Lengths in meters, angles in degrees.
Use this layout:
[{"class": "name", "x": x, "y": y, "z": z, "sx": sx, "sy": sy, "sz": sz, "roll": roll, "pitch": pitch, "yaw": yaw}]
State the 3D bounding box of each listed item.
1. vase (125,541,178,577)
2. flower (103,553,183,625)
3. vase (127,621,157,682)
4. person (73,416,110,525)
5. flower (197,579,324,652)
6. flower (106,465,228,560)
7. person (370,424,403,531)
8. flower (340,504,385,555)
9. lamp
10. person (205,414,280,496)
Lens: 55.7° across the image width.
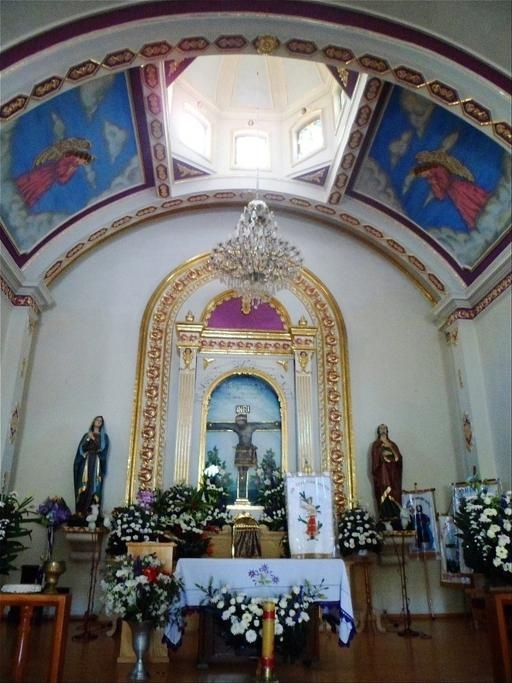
[{"class": "vase", "x": -0.804, "y": 1.608, "z": 3.709, "sx": 0.379, "sy": 0.338, "sz": 0.234, "roll": 0, "pitch": -14, "yaw": -1}, {"class": "flower", "x": -0.775, "y": 1.696, "z": 3.537, "sx": 0.524, "sy": 0.529, "sz": 0.525, "roll": 0, "pitch": 11, "yaw": -1}, {"class": "vase", "x": -0.814, "y": 2.133, "z": 3.394, "sx": 0.169, "sy": 0.339, "sz": 0.590, "roll": 4, "pitch": -20, "yaw": -9}, {"class": "person", "x": -2.238, "y": 1.666, "z": 6.592, "sx": 0.456, "sy": 1.322, "sz": 0.457, "roll": 9, "pitch": -22, "yaw": -20}, {"class": "flower", "x": 0.029, "y": 1.908, "z": 3.318, "sx": 0.844, "sy": 0.471, "sz": 0.799, "roll": -2, "pitch": -20, "yaw": 6}, {"class": "flower", "x": -1.106, "y": 2.080, "z": 5.821, "sx": 1.242, "sy": 0.665, "sz": 1.226, "roll": -8, "pitch": 0, "yaw": -44}, {"class": "person", "x": 1.858, "y": 1.879, "z": 6.896, "sx": 0.469, "sy": 1.457, "sz": 0.738, "roll": -4, "pitch": -21, "yaw": 13}, {"class": "flower", "x": 1.281, "y": 2.345, "z": 5.969, "sx": 0.570, "sy": 0.557, "sz": 0.451, "roll": 12, "pitch": -23, "yaw": -28}, {"class": "lamp", "x": 0.053, "y": -1.544, "z": 6.988, "sx": 1.269, "sy": 2.035, "sz": 1.280, "roll": 0, "pitch": -4, "yaw": 33}, {"class": "person", "x": -0.229, "y": 1.703, "z": 7.099, "sx": 1.120, "sy": 1.228, "sz": 0.368, "roll": 1, "pitch": -31, "yaw": -2}]
